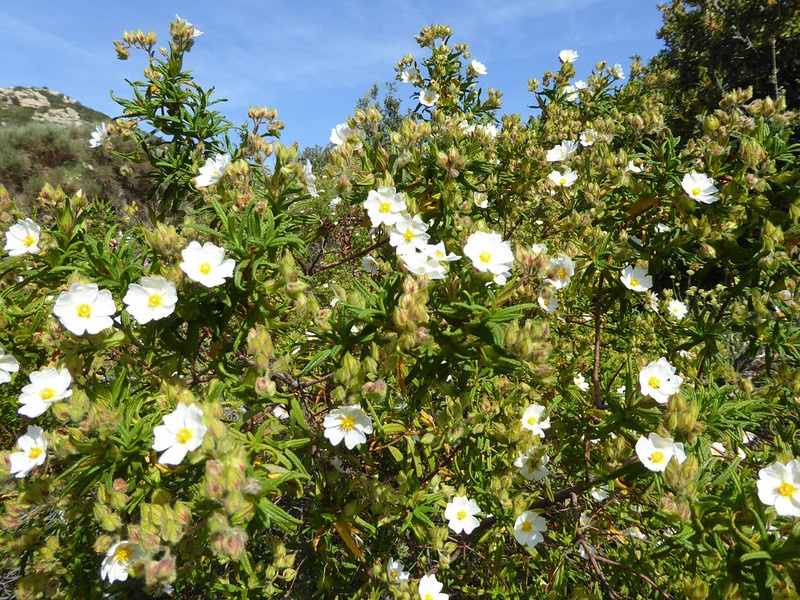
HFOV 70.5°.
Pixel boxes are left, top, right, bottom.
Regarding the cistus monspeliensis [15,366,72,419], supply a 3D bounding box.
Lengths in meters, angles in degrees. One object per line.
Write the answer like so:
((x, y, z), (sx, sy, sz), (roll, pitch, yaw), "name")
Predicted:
((-1.896, 0.494, 3.069), (0.256, 0.117, 0.283), (21, 74, 0), "cistus monspeliensis")

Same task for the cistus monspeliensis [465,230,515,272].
((0.488, -0.248, 3.148), (0.259, 0.175, 0.237), (21, 38, 23), "cistus monspeliensis")

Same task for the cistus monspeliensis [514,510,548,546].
((0.777, 1.386, 3.490), (0.207, 0.105, 0.227), (29, 74, -26), "cistus monspeliensis")

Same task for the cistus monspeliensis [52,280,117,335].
((-1.653, 0.077, 2.975), (0.280, 0.294, 0.188), (-20, 40, -31), "cistus monspeliensis")

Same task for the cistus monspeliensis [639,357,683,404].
((1.448, 0.462, 3.155), (0.234, 0.091, 0.251), (-18, 78, 4), "cistus monspeliensis")

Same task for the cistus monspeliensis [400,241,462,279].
((0.167, -0.236, 3.176), (0.206, 0.095, 0.249), (7, 38, 26), "cistus monspeliensis")

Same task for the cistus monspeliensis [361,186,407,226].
((-0.075, -0.514, 3.363), (0.258, 0.259, 0.204), (20, 37, 22), "cistus monspeliensis")

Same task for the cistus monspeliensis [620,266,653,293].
((1.574, -0.131, 3.789), (0.167, 0.075, 0.178), (-39, 89, -10), "cistus monspeliensis")

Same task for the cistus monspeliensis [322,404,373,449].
((-0.307, 0.785, 3.277), (0.264, 0.390, 0.198), (-3, 33, -9), "cistus monspeliensis")

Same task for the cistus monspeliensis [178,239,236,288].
((-1.052, -0.199, 3.071), (0.266, 0.117, 0.244), (-22, 26, -40), "cistus monspeliensis")

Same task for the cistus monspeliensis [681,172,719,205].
((1.848, -0.690, 3.492), (0.186, 0.086, 0.214), (-16, 78, 0), "cistus monspeliensis")

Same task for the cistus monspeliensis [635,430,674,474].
((1.351, 0.822, 3.016), (0.191, 0.171, 0.168), (17, 36, 19), "cistus monspeliensis")

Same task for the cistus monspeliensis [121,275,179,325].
((-1.330, -0.007, 3.000), (0.251, 0.202, 0.202), (-17, 39, -27), "cistus monspeliensis")

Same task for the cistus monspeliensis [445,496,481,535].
((0.386, 1.327, 3.567), (0.225, 0.091, 0.232), (41, 67, -13), "cistus monspeliensis")
